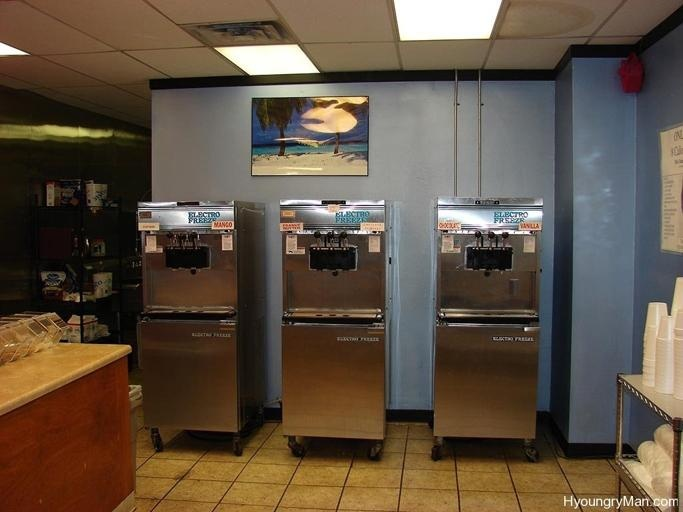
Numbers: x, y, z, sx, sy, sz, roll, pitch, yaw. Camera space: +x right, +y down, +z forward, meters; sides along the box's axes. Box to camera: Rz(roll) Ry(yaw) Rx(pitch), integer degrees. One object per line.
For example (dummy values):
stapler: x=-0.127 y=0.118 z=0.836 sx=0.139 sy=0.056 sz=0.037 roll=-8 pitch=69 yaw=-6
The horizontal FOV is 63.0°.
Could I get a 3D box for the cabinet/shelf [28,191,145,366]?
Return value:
cabinet/shelf: x=-2.801 y=0.380 z=6.349 sx=0.590 sy=2.039 sz=1.127 roll=2 pitch=6 yaw=32
